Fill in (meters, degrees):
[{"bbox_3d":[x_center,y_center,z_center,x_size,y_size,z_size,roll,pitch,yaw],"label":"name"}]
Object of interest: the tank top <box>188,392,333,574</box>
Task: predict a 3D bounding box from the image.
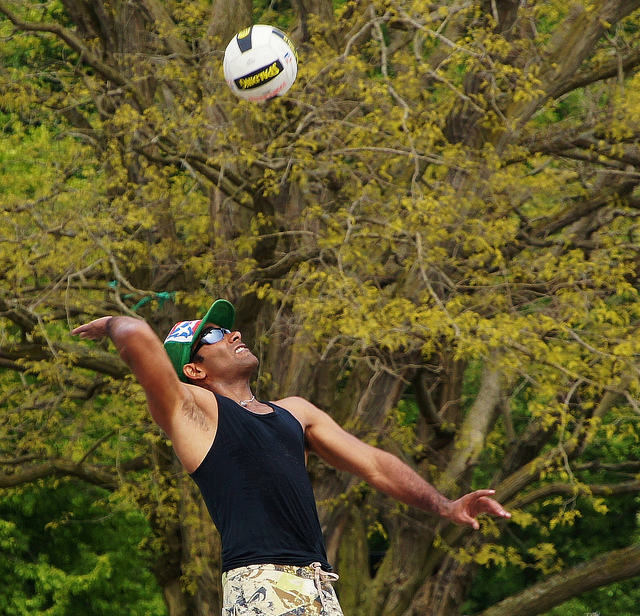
[{"bbox_3d":[-0.497,1.267,9.226,1.038,1.405,0.995,4,-5,-27],"label":"tank top"}]
